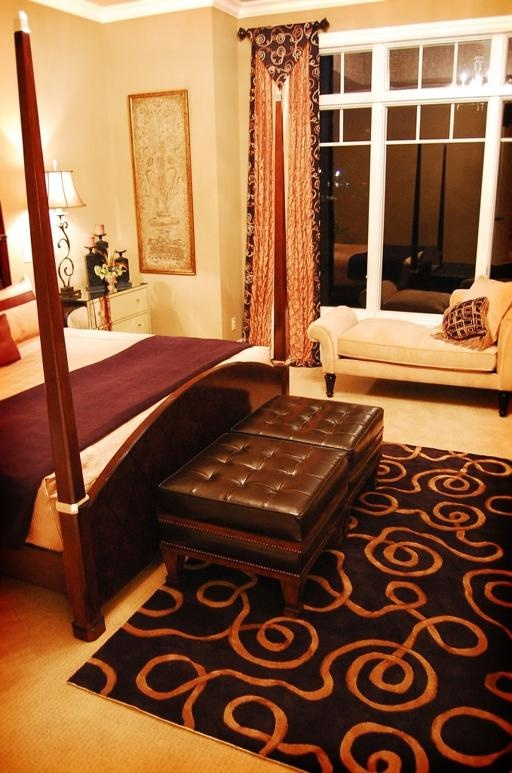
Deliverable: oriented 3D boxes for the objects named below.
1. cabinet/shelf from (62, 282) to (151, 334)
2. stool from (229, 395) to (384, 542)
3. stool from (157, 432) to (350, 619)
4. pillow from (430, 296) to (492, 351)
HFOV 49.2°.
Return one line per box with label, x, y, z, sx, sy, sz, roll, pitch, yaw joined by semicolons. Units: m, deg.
cabinet/shelf;-1.157;-0.604;4.219;0.215;0.496;0.584;8;27;17
stool;0.340;0.310;2.551;0.491;0.290;0.485;11;29;27
stool;-0.015;0.479;1.930;0.503;0.335;0.532;4;21;20
pillow;1.379;-0.430;3.699;0.363;0.311;0.309;5;15;28
